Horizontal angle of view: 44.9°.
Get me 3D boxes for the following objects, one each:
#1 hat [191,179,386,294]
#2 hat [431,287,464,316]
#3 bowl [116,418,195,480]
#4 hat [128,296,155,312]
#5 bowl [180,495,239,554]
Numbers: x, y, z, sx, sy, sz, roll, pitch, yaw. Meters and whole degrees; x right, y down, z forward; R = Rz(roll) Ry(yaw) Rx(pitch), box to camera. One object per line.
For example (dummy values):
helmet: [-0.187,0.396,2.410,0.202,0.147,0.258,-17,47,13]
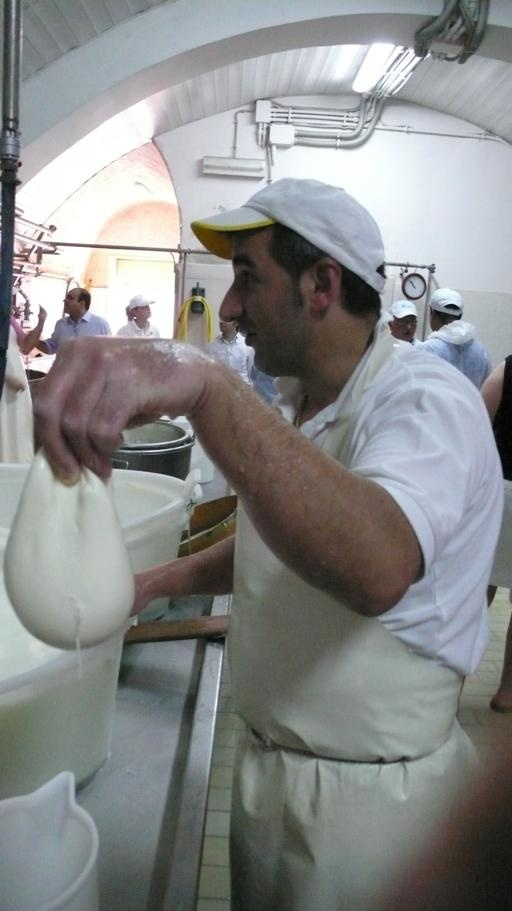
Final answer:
hat: [0.042,-0.267,0.860,0.233,0.122,0.155,14,3,-10]
hat: [1.270,-1.036,4.189,0.191,0.147,0.282,4,13,-4]
bowl: [-0.279,-0.022,1.696,0.248,0.186,0.248,1,8,0]
hat: [-1.079,-1.375,5.715,0.219,0.089,0.145,-13,16,20]
bowl: [-0.113,0.166,1.502,0.141,0.122,0.103,-20,1,-32]
